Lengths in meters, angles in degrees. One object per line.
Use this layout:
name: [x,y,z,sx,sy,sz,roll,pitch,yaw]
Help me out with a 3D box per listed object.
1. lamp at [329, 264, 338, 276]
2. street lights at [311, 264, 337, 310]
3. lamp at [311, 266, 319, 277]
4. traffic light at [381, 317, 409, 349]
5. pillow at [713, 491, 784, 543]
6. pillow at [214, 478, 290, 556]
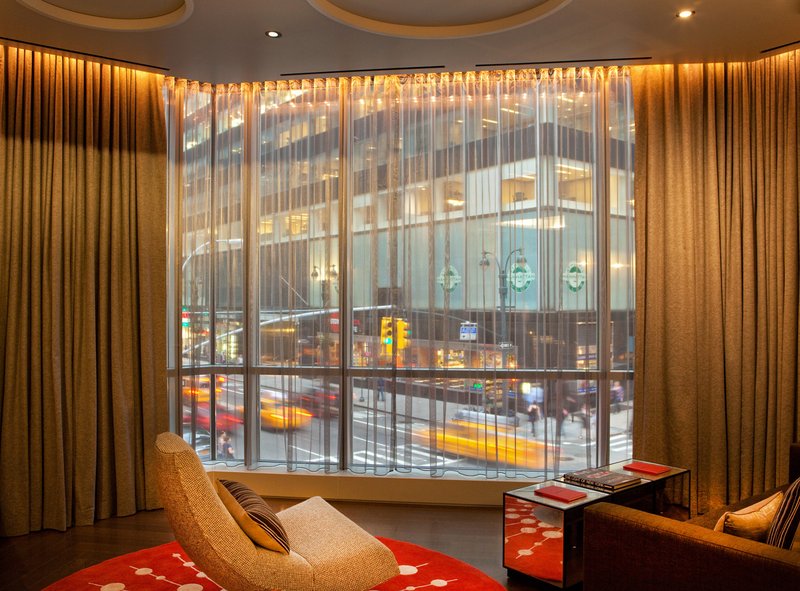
lamp: [-0.578,-0.212,6.223,0.084,0.106,0.051,1,-4,-4]
street lights: [-0.661,-0.069,6.241,0.245,0.396,0.086,-1,-18,16]
lamp: [-0.735,-0.201,6.245,0.071,0.106,0.082,3,-2,-5]
traffic light: [-0.019,0.333,6.303,0.238,0.328,0.245,-1,-2,10]
pillow: [1.940,1.234,4.003,0.262,0.094,0.286,-12,35,24]
pillow: [-0.930,1.403,4.518,0.205,0.211,0.532,-18,8,-22]
